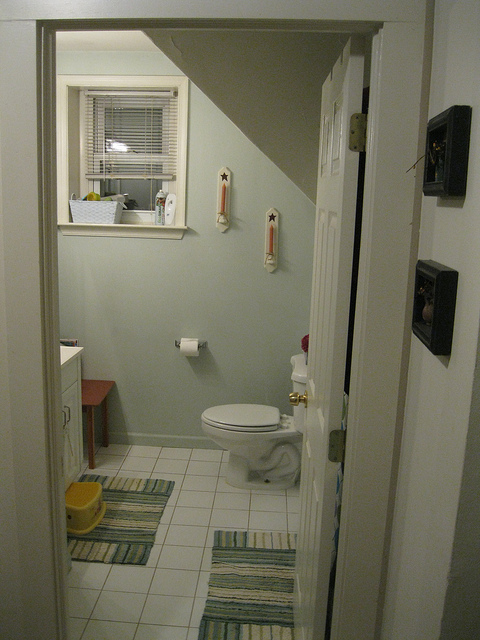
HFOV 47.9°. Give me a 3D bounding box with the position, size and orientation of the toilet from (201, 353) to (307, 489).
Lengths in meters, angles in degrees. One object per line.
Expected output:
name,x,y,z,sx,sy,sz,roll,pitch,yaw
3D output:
toilet,0.088,0.507,3.100,0.500,0.813,0.578,1,10,1

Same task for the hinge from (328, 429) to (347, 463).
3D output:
hinge,0.234,0.306,1.309,0.040,0.087,0.023,4,9,13

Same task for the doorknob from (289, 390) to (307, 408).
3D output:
doorknob,0.196,0.270,1.833,0.052,0.071,0.046,0,8,-1

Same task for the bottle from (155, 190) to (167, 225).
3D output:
bottle,-0.478,-0.681,3.256,0.047,0.183,0.066,8,11,37

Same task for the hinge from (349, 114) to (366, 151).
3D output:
hinge,0.252,-0.403,1.163,0.033,0.076,0.009,0,9,-13

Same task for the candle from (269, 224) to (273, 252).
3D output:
candle,0.181,-0.471,3.167,0.022,0.149,0.011,0,8,-8

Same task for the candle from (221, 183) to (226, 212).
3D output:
candle,-0.095,-0.706,3.139,0.018,0.158,0.033,7,10,32

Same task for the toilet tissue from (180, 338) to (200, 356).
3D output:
toilet tissue,-0.311,0.177,3.311,0.121,0.113,0.123,1,10,-4
